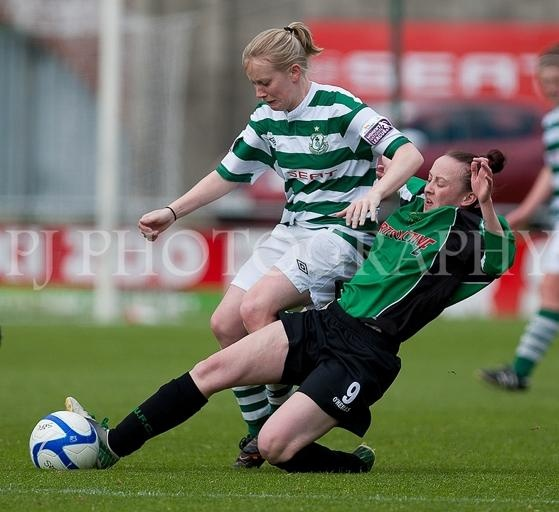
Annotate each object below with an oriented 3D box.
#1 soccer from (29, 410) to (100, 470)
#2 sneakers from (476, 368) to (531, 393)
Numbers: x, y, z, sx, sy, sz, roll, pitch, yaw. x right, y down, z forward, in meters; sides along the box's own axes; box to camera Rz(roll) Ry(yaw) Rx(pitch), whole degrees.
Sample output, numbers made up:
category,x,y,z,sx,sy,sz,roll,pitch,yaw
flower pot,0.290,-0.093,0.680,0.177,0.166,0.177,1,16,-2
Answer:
category,x,y,z,sx,sy,sz,roll,pitch,yaw
soccer,-1.084,0.937,5.342,0.318,0.280,0.175,2,3,32
sneakers,1.464,0.790,6.787,0.354,0.149,0.129,12,1,-25
